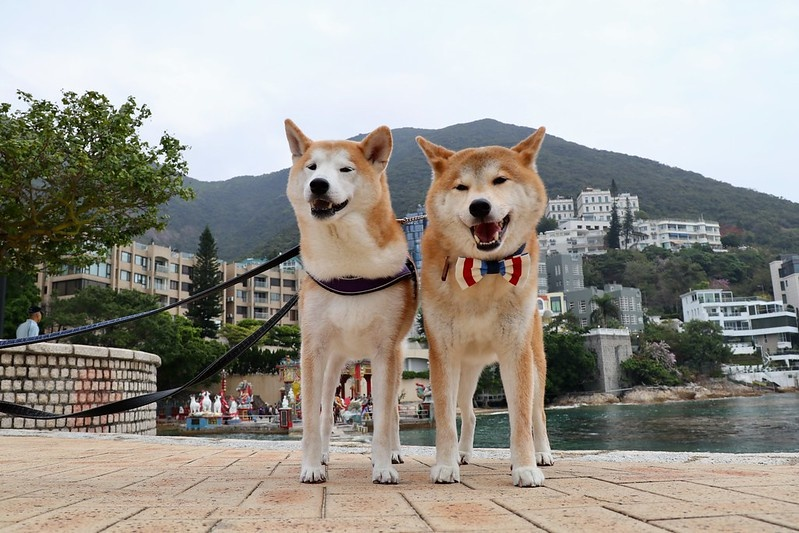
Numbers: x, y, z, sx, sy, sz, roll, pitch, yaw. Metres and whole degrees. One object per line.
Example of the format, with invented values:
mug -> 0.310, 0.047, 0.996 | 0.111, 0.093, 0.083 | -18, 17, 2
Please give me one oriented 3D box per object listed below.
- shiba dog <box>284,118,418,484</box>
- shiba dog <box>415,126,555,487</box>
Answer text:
shiba dog -> -0.552, 0.311, 7.083 | 1.473, 4.050, 1.644 | 1, -12, -10
shiba dog -> 1.070, 0.397, 7.193 | 1.567, 3.911, 1.571 | -7, -13, 28
